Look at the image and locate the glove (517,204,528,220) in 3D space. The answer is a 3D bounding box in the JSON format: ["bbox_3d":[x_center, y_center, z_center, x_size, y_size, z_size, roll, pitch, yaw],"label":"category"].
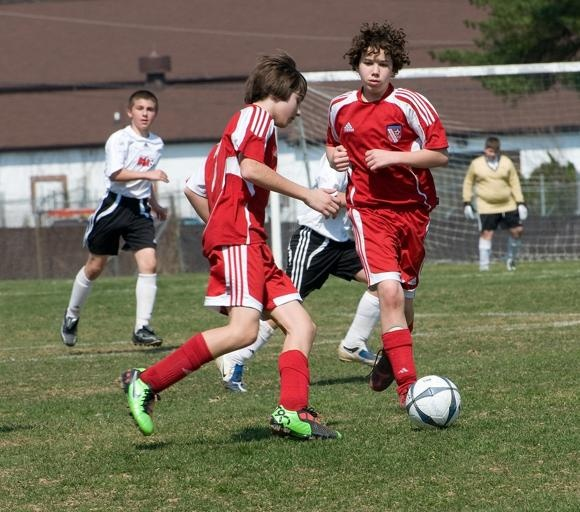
[{"bbox_3d":[2.312,-0.426,11.200,0.095,0.131,0.048,0,23,15],"label":"glove"}]

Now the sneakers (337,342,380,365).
[{"bbox_3d":[0.536,0.774,8.848,0.350,0.151,0.129,7,2,-6],"label":"sneakers"}]

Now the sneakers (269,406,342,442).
[{"bbox_3d":[0.115,1.146,7.502,0.543,0.236,0.202,16,-34,-33],"label":"sneakers"}]

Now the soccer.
[{"bbox_3d":[0.952,0.985,7.530,0.320,0.324,0.324,-9,-22,1],"label":"soccer"}]

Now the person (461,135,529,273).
[{"bbox_3d":[2.156,-0.503,11.597,0.418,1.460,1.084,-2,9,1],"label":"person"}]

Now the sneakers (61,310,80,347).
[{"bbox_3d":[-1.919,0.634,10.038,0.116,0.344,0.145,8,-36,-30],"label":"sneakers"}]

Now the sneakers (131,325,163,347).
[{"bbox_3d":[-1.214,0.706,9.650,0.118,0.168,0.320,-2,-2,-42],"label":"sneakers"}]
